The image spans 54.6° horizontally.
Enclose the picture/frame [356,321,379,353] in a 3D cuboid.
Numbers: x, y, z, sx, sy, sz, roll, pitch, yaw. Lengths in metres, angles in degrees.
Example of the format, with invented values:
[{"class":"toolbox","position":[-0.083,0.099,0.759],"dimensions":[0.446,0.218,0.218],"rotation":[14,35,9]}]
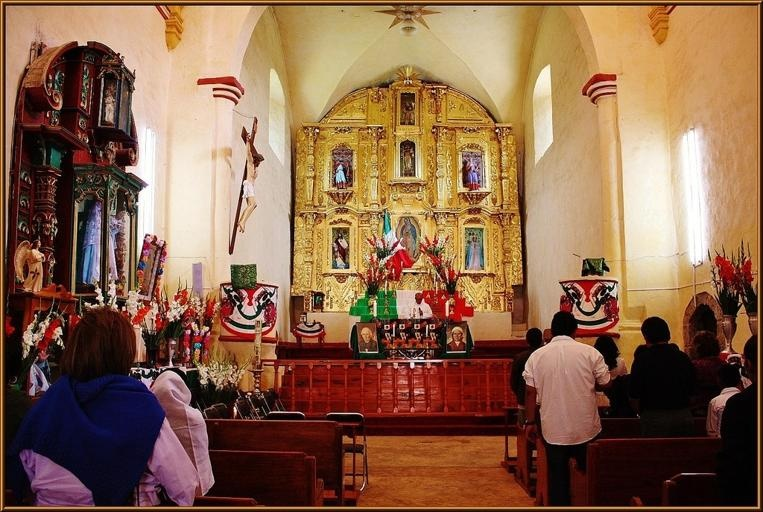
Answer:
[{"class":"picture/frame","position":[-0.230,1.404,12.578],"dimensions":[0.456,0.631,0.045],"rotation":[-4,-16,-8]}]

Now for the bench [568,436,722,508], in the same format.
[{"class":"bench","position":[2.348,1.891,6.428],"dimensions":[0.936,0.609,0.416],"rotation":[0,0,1]}]

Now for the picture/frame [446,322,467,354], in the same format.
[{"class":"picture/frame","position":[1.297,1.424,12.690],"dimensions":[0.500,0.680,0.070],"rotation":[1,-21,3]}]

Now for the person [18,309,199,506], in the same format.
[{"class":"person","position":[-2.209,1.201,5.811],"dimensions":[1.559,1.679,0.914],"rotation":[4,8,3]}]

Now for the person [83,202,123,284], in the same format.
[{"class":"person","position":[-3.540,-0.147,9.465],"dimensions":[0.223,1.066,0.716],"rotation":[0,-5,6]}]

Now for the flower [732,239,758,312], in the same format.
[{"class":"flower","position":[4.452,0.236,9.028],"dimensions":[0.252,0.965,1.227],"rotation":[-2,-6,26]}]

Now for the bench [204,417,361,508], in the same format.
[{"class":"bench","position":[-0.937,1.903,6.786],"dimensions":[1.458,0.955,0.572],"rotation":[0,0,3]}]

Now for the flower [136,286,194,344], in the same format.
[{"class":"flower","position":[-2.926,0.802,10.088],"dimensions":[0.726,0.833,0.728],"rotation":[11,12,43]}]
